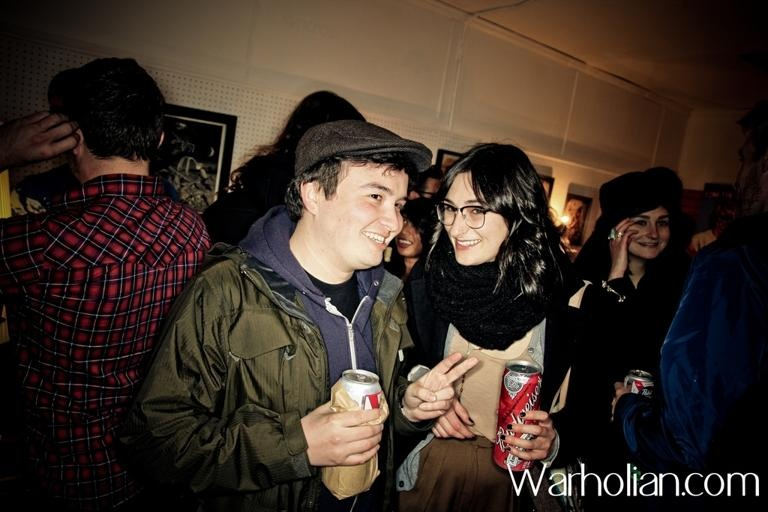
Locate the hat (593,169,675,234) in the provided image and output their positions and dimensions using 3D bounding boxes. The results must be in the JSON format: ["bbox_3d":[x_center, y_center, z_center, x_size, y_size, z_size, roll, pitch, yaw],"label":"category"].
[{"bbox_3d":[1.914,-0.440,3.960,0.375,0.349,0.466,-3,4,-6],"label":"hat"}]

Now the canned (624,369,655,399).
[{"bbox_3d":[1.321,0.650,2.654,0.133,0.114,0.116,24,-5,-5],"label":"canned"}]

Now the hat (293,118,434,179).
[{"bbox_3d":[-0.120,-0.542,2.533,0.487,0.161,0.347,-7,3,12],"label":"hat"}]

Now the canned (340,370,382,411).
[{"bbox_3d":[-0.106,0.568,2.297,0.168,0.184,0.166,7,6,-9],"label":"canned"}]
